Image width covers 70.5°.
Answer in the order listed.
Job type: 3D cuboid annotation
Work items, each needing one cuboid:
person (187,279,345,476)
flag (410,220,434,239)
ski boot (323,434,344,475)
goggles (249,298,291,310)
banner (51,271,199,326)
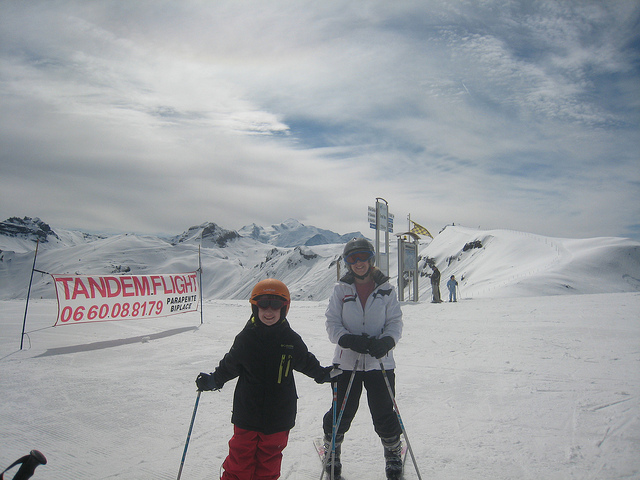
[{"bbox_3d":[-0.701,1.730,5.850,1.525,2.440,0.408,2,-4,-13],"label":"person"},{"bbox_3d":[11.404,-1.096,50.734,1.690,1.526,3.128,0,-5,14],"label":"flag"},{"bbox_3d":[0.178,2.955,6.406,0.200,0.316,0.645,4,29,-6],"label":"ski boot"},{"bbox_3d":[-0.642,0.822,5.879,0.502,0.146,0.165,2,-5,-14],"label":"goggles"},{"bbox_3d":[-6.343,1.911,15.539,0.404,1.392,5.907,-8,-6,27],"label":"banner"}]
